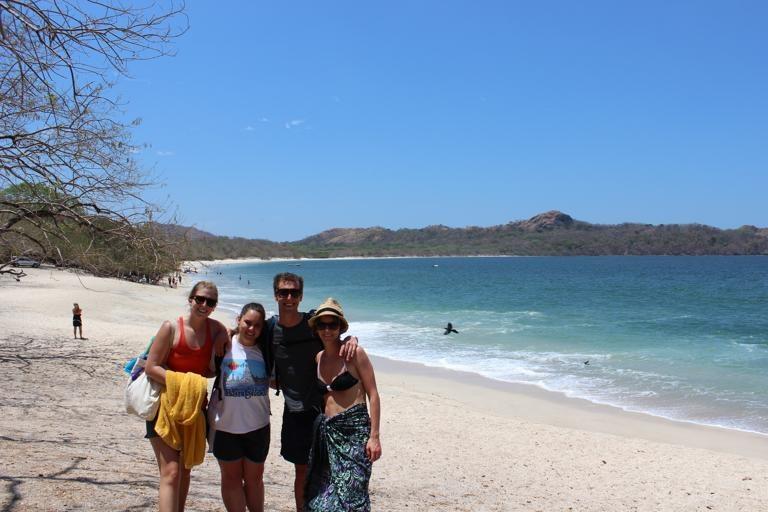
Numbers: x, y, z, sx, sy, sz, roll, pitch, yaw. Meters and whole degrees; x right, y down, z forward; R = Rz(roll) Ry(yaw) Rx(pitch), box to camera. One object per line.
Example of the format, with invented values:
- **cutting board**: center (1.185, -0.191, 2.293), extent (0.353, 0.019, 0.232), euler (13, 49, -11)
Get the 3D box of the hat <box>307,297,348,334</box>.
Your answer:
- **hat**: center (-0.603, 0.697, 6.588), extent (0.492, 0.225, 0.438), euler (2, -41, 0)
